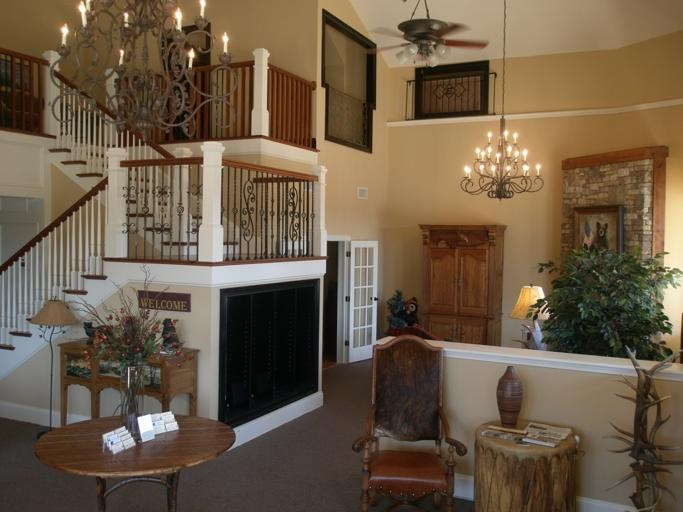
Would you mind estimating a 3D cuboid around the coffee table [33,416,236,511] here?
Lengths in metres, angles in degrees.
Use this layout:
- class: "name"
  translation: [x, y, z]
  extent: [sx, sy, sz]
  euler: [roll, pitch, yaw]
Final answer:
- class: "coffee table"
  translation: [-1.558, 1.420, 4.129]
  extent: [1.453, 0.259, 0.856]
  euler: [-6, 1, -3]

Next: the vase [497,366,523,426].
- class: "vase"
  translation: [1.469, 1.225, 4.770]
  extent: [0.211, 0.455, 0.151]
  euler: [-5, 1, -11]
